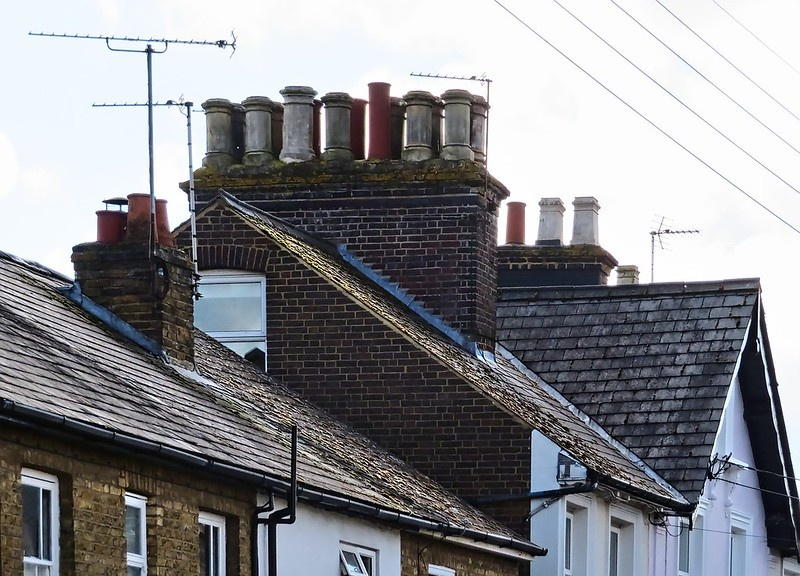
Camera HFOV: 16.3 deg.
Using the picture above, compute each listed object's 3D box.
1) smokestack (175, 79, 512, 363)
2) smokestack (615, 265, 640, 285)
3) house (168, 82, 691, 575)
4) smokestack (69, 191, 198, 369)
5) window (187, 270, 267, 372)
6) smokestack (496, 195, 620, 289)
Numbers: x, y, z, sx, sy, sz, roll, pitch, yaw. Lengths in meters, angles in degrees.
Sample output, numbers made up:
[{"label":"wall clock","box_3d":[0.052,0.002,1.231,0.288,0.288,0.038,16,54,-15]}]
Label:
[{"label":"smokestack","box_3d":[-1.018,-0.814,47.225,4.465,4.119,1.842,0,-3,8]},{"label":"smokestack","box_3d":[4.370,-0.237,54.118,0.499,0.639,0.530,0,0,15]},{"label":"house","box_3d":[-0.065,0.365,50.028,8.163,8.665,8.444,0,-1,9]},{"label":"smokestack","box_3d":[-4.064,0.057,42.266,1.740,2.929,1.888,-4,-4,32]},{"label":"window","box_3d":[-2.827,0.566,45.428,1.519,1.930,0.140,1,-11,-3]},{"label":"smokestack","box_3d":[2.839,-0.642,52.769,1.694,1.329,0.848,0,-3,8]}]
